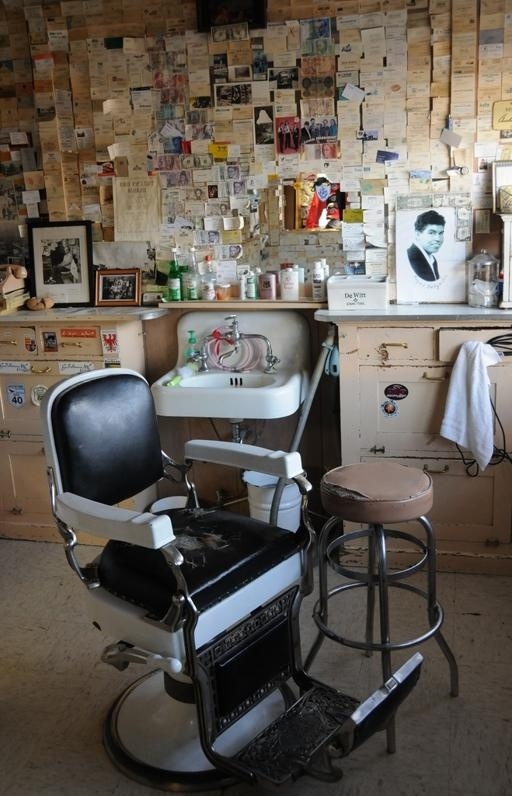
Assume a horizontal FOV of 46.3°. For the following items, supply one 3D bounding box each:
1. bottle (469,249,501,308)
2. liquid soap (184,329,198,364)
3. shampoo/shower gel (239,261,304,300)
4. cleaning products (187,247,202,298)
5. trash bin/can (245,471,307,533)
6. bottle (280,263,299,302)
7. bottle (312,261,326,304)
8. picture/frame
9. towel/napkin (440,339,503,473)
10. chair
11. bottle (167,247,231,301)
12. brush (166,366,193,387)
[{"bbox_3d":[0.942,-0.499,2.468,0.171,0.228,0.179,-3,15,1],"label":"bottle"},{"bbox_3d":[-0.296,-0.242,2.777,0.068,0.143,0.150,-4,7,-9],"label":"liquid soap"},{"bbox_3d":[0.075,-0.533,2.694,0.258,0.175,0.159,4,13,13],"label":"shampoo/shower gel"},{"bbox_3d":[-0.295,-0.588,2.846,0.070,0.250,0.071,16,30,32],"label":"cleaning products"},{"bbox_3d":[0.147,0.400,2.507,0.210,0.304,0.226,8,-10,9],"label":"trash bin/can"},{"bbox_3d":[0.150,-0.500,2.631,0.082,0.156,0.071,-2,7,8],"label":"bottle"},{"bbox_3d":[0.274,-0.507,2.607,0.062,0.182,0.107,-2,7,5],"label":"bottle"},{"bbox_3d":[-0.821,-0.678,2.980,0.429,0.517,0.034,1,11,10],"label":"picture/frame"},{"bbox_3d":[0.788,0.029,2.201,0.209,0.467,0.077,-1,7,15],"label":"towel/napkin"},{"bbox_3d":[-0.059,0.348,1.788,1.134,1.215,0.736,7,18,31],"label":"chair"},{"bbox_3d":[-0.255,-0.587,2.826,0.269,0.262,0.107,1,2,8],"label":"bottle"},{"bbox_3d":[-0.332,-0.097,2.625,0.043,0.037,0.165,10,23,19],"label":"brush"}]
